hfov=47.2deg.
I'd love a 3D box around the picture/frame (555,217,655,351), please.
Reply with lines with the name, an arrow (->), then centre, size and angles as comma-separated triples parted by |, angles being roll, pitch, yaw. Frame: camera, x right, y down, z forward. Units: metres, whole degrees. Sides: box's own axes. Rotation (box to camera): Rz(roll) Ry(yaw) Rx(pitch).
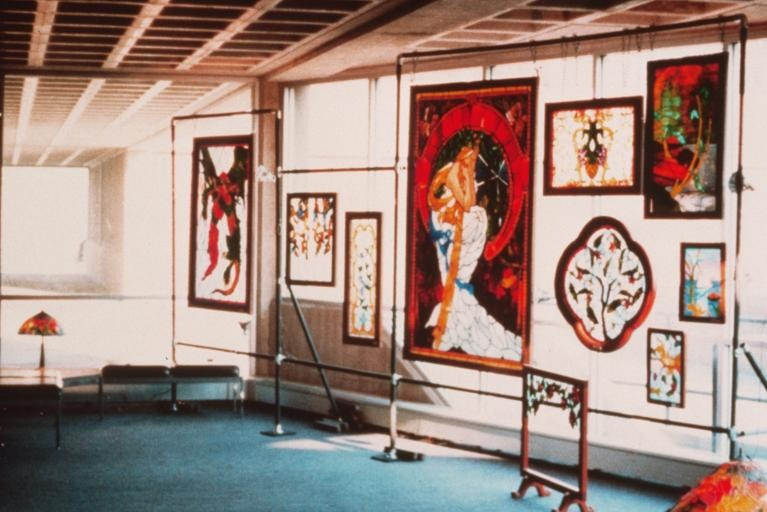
picture/frame -> 2.109, 0.259, 8.435 | 0.950, 1.271, 0.270 | 5, 8, 38

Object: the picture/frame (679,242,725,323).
picture/frame -> 3.012, 0.241, 8.303 | 0.440, 0.738, 0.290 | 3, 7, 27

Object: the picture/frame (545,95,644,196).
picture/frame -> 2.038, -1.056, 8.377 | 0.901, 0.904, 0.065 | 3, 5, 30

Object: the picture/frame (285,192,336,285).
picture/frame -> -0.846, -0.209, 10.386 | 1.006, 1.446, 0.063 | 3, 4, 37

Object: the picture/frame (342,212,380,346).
picture/frame -> -0.238, 0.243, 9.801 | 0.527, 1.464, 0.310 | 3, 7, 22

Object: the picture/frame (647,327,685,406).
picture/frame -> 2.677, 1.052, 8.333 | 0.352, 0.706, 0.212 | 2, 7, 21

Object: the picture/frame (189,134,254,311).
picture/frame -> -1.945, -0.410, 10.500 | 1.007, 2.056, 0.233 | 4, 8, 33
